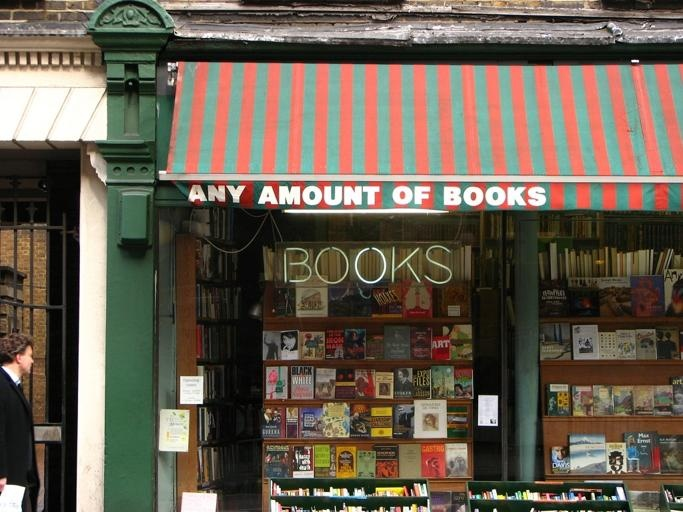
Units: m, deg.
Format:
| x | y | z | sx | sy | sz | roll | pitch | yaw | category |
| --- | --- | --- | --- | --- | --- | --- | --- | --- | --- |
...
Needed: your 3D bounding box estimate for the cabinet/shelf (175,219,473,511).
| x | y | z | sx | sy | sz | roll | pitch | yaw | category |
| --- | --- | --- | --- | --- | --- | --- | --- | --- | --- |
| -0.311 | 1.276 | 16.268 | 3.069 | 2.847 | 0.956 | 0 | 1 | 2 | cabinet/shelf |
